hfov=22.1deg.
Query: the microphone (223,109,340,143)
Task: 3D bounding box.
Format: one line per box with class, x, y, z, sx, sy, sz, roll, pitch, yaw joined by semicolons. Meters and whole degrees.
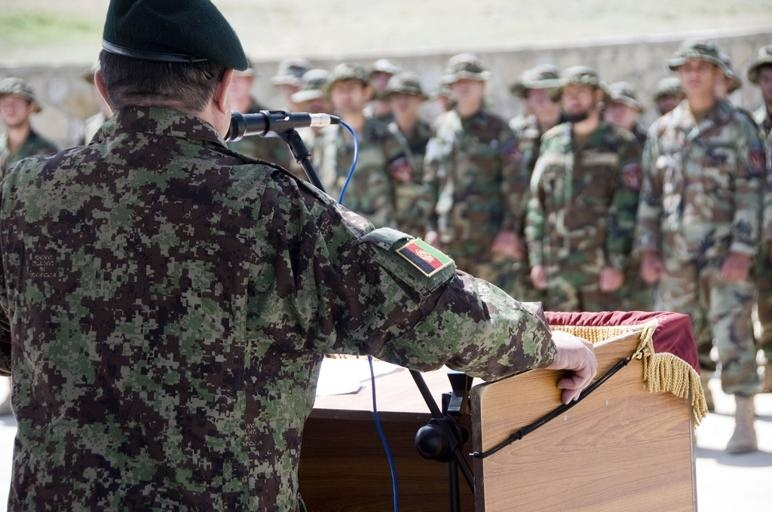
microphone;-0.628;-0.860;13.037;0.990;0.214;0.209;-6;4;-18
